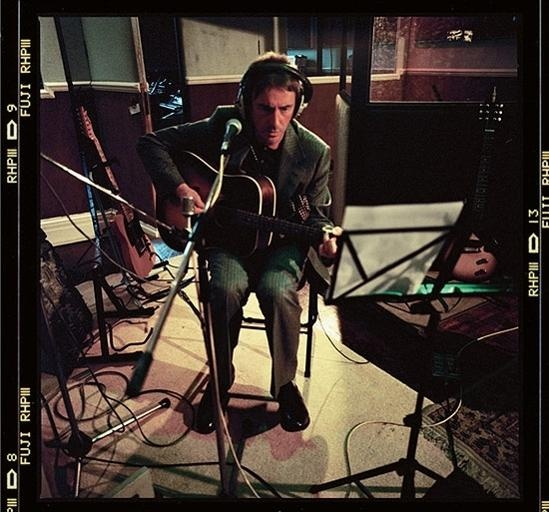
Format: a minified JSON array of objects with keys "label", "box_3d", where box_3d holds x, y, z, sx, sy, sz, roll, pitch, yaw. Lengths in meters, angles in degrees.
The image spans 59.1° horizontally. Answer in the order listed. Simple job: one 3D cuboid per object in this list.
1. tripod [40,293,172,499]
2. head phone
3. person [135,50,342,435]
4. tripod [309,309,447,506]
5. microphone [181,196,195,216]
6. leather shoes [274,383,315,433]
[{"label":"tripod","box_3d":[-0.644,0.545,1.817,0.344,0.487,0.378,-31,54,-26]},{"label":"head phone","box_3d":[0.002,-0.624,1.825,0.283,0.195,0.083,-2,16,-6]},{"label":"person","box_3d":[-0.113,-0.065,2.065,0.826,1.539,0.662,14,24,27]},{"label":"tripod","box_3d":[0.399,0.483,1.724,0.557,0.663,0.278,-1,16,-4]},{"label":"microphone","box_3d":[-0.223,-0.130,1.252,0.028,0.050,0.045,0,17,-1]},{"label":"leather shoes","box_3d":[0.075,0.588,1.895,0.119,0.129,0.146,-4,17,-13]}]
